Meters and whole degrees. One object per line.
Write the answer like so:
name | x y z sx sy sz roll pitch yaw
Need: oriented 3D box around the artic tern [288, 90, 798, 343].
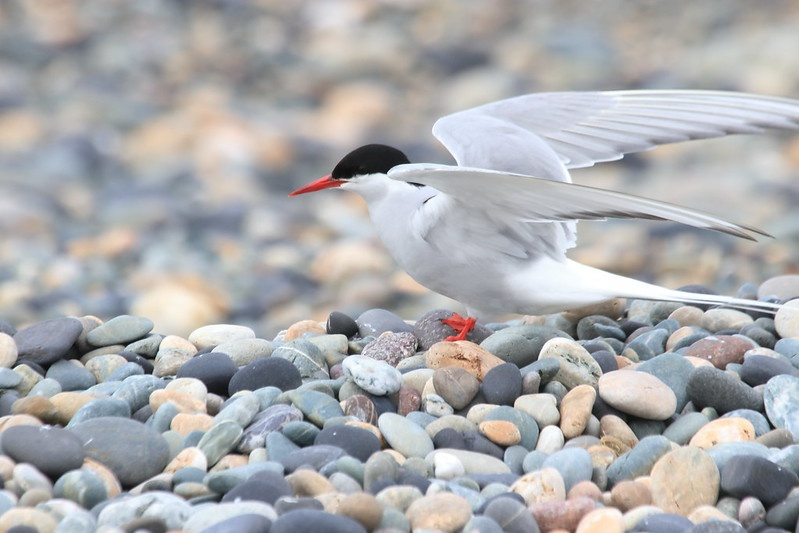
artic tern | 0.817 -0.166 5.906 2.112 1.554 0.704 -3 -75 7
